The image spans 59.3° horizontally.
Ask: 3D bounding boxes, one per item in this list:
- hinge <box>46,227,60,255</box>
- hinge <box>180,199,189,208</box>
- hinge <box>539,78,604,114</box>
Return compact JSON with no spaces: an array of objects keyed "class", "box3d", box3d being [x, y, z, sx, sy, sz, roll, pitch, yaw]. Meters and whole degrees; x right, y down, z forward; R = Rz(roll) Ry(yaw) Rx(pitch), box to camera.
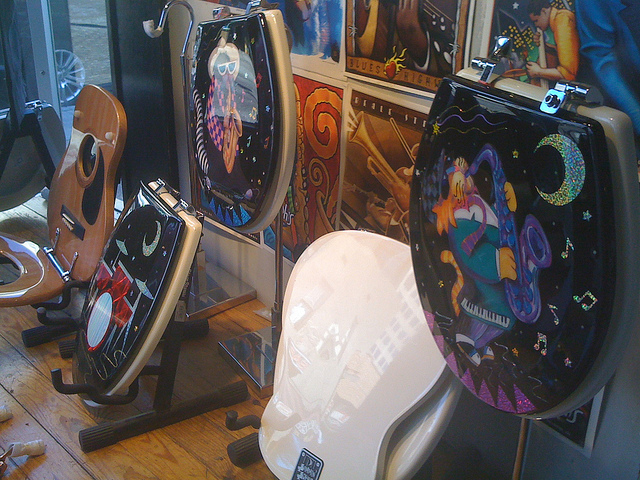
[{"class":"hinge","box3d":[-0.997,0.004,2.108,0.045,0.077,0.062,16,29,29]},{"class":"hinge","box3d":[-0.370,-0.097,1.538,0.006,0.012,0.079,34,6,-29]},{"class":"hinge","box3d":[0.392,-0.226,0.864,0.061,0.036,0.066,-23,38,-23]}]
